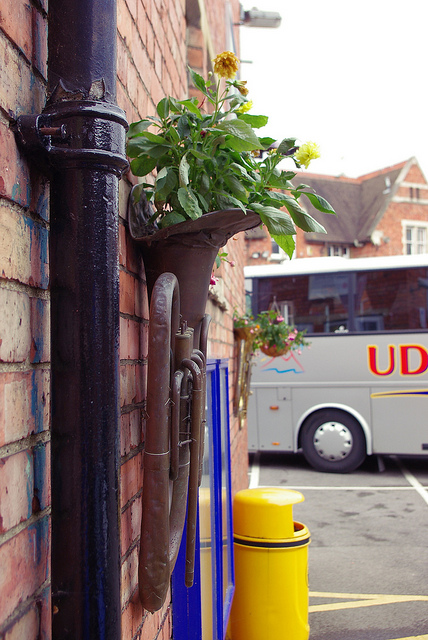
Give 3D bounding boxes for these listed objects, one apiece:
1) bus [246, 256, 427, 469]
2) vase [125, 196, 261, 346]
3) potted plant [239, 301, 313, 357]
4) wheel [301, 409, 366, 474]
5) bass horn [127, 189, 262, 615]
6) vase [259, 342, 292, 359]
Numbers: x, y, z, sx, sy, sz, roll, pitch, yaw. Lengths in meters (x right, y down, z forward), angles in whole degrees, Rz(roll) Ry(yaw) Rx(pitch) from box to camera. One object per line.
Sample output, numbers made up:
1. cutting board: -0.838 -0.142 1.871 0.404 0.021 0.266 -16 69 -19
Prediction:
1. bus: 1.956 0.635 10.808 3.723 2.890 1.614 -2 -4 11
2. vase: -0.051 -0.145 1.539 0.244 0.373 0.290 -5 11 -25
3. potted plant: 0.708 0.232 7.684 0.400 0.526 0.781 7 3 28
4. wheel: 1.624 1.652 9.864 0.851 0.855 0.252 -1 -2 12
5. bass horn: -0.062 0.154 1.422 0.196 1.007 0.302 3 2 -1
6. vase: 0.629 0.313 7.632 0.191 0.202 0.196 -3 -4 34
